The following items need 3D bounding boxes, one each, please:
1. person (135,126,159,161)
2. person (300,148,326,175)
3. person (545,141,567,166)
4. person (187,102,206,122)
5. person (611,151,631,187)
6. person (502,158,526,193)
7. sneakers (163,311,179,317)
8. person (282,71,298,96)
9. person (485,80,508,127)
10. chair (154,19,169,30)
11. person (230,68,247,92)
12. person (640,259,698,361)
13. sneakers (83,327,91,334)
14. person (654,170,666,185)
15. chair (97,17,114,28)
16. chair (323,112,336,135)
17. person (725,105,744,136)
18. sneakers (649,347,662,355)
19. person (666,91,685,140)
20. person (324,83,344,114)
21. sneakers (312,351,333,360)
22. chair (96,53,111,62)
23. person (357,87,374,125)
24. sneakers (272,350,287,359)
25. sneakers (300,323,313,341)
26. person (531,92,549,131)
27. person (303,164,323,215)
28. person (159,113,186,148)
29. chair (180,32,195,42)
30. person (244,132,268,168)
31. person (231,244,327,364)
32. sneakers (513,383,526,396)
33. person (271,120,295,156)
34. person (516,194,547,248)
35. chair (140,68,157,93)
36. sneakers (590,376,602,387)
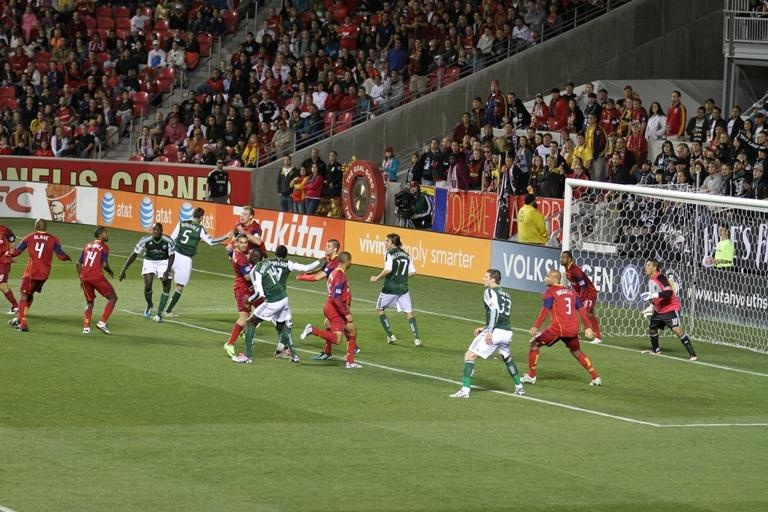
[{"bbox_3d":[-8.309,-3.677,44.567,0.792,1.691,0.532,-4,0,4],"label":"person"},{"bbox_3d":[-2.263,-2.982,39.961,1.001,0.980,0.532,0,-6,6],"label":"person"},{"bbox_3d":[4.822,-2.884,35.577,0.743,0.753,0.422,-2,1,30],"label":"person"},{"bbox_3d":[-6.324,-4.973,43.409,0.491,0.625,1.014,-1,14,-8],"label":"person"},{"bbox_3d":[6.399,-2.386,34.083,0.516,0.797,0.790,1,14,1],"label":"person"},{"bbox_3d":[3.715,-2.274,35.575,0.617,1.044,0.300,2,14,5],"label":"person"},{"bbox_3d":[-5.114,1.406,30.297,0.276,0.122,0.094,1,15,-2],"label":"sneakers"},{"bbox_3d":[-3.168,-5.883,43.008,0.525,0.867,0.588,-17,39,-39],"label":"person"},{"bbox_3d":[3.454,-4.715,39.006,0.654,1.417,0.581,2,14,6],"label":"person"},{"bbox_3d":[-8.359,-8.769,47.690,0.367,0.427,0.472,6,16,22],"label":"chair"},{"bbox_3d":[-4.969,-6.009,43.374,0.615,0.796,0.441,0,14,-6],"label":"person"},{"bbox_3d":[6.278,1.189,27.913,1.253,2.169,0.993,8,15,26],"label":"person"},{"bbox_3d":[-6.635,1.678,28.273,0.098,0.127,0.287,1,6,-7],"label":"sneakers"},{"bbox_3d":[7.164,-2.047,32.800,0.264,0.412,0.936,4,14,12],"label":"person"},{"bbox_3d":[-10.667,-9.016,48.748,0.545,0.476,0.533,-5,-3,-1],"label":"chair"},{"bbox_3d":[-1.794,-4.413,41.952,0.570,0.706,0.643,1,8,2],"label":"chair"},{"bbox_3d":[9.537,-3.689,34.338,0.403,0.819,0.732,5,14,14],"label":"person"},{"bbox_3d":[6.070,2.145,28.238,0.294,0.131,0.111,5,9,33],"label":"sneakers"},{"bbox_3d":[8.363,-4.089,36.493,0.495,1.413,0.863,9,16,28],"label":"person"},{"bbox_3d":[-1.656,-5.298,42.267,0.662,0.916,0.390,23,9,36],"label":"person"},{"bbox_3d":[-1.298,2.146,26.980,0.429,0.198,0.157,2,9,-4],"label":"sneakers"},{"bbox_3d":[-10.405,-7.444,47.045,0.408,0.523,0.423,-2,2,-41],"label":"chair"},{"bbox_3d":[-0.606,-5.034,41.836,0.554,1.146,0.511,1,14,-2],"label":"person"},{"bbox_3d":[-2.209,2.120,27.039,0.226,0.101,0.173,-3,-2,33],"label":"sneakers"},{"bbox_3d":[-1.712,1.722,28.027,0.232,0.494,0.182,3,50,-30],"label":"sneakers"},{"bbox_3d":[4.780,-4.438,38.749,0.520,1.049,1.134,3,14,7],"label":"person"},{"bbox_3d":[-2.164,-2.089,39.145,0.560,1.500,0.841,0,14,-4],"label":"person"},{"bbox_3d":[-7.312,-4.374,44.022,0.841,1.141,0.914,3,11,33],"label":"person"},{"bbox_3d":[-7.232,-8.105,46.509,0.291,0.435,1.449,-4,15,-20],"label":"chair"},{"bbox_3d":[-4.370,-3.555,42.321,0.777,1.084,0.480,11,17,34],"label":"person"},{"bbox_3d":[-2.363,1.008,26.575,1.408,2.518,0.938,1,14,1],"label":"person"},{"bbox_3d":[2.682,2.660,25.050,0.120,0.192,0.365,0,7,-6],"label":"sneakers"},{"bbox_3d":[-3.338,-3.884,41.900,0.809,1.268,0.406,10,16,31],"label":"person"},{"bbox_3d":[3.993,-0.968,34.229,0.841,1.357,0.898,3,11,25],"label":"person"},{"bbox_3d":[-8.487,-6.359,45.820,0.683,0.978,0.862,0,12,-1],"label":"chair"},{"bbox_3d":[4.331,2.544,25.715,0.148,0.226,0.227,-39,55,-16],"label":"sneakers"}]
